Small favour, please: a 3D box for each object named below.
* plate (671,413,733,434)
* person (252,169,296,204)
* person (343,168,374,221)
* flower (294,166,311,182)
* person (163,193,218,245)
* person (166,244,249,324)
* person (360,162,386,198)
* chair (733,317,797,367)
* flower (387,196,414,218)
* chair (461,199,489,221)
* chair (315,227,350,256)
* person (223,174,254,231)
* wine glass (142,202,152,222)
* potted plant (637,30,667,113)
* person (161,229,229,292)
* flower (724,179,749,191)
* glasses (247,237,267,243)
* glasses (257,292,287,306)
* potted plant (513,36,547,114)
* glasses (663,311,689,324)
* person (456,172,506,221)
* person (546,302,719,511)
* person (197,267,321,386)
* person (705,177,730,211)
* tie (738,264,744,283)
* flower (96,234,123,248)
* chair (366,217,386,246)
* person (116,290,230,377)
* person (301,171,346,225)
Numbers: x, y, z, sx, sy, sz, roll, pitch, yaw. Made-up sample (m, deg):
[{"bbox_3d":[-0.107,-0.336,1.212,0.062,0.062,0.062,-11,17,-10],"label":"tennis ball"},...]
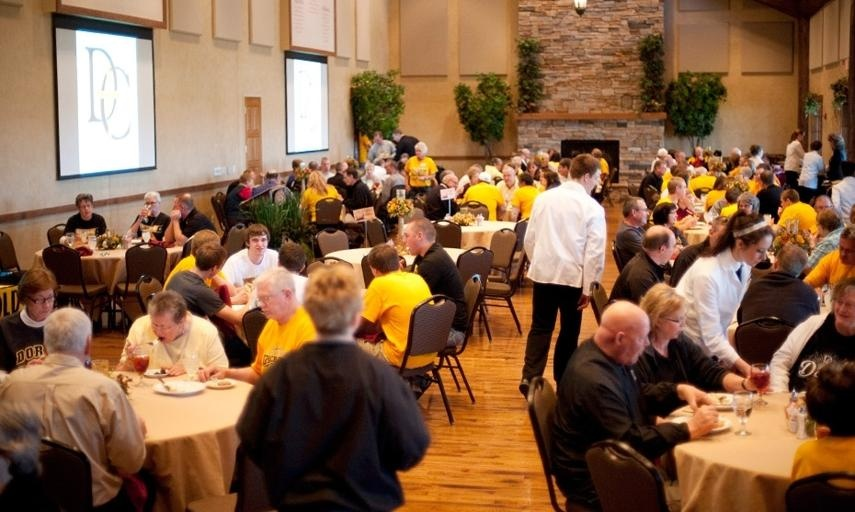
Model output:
[{"bbox_3d":[1.750,1.034,4.257,0.180,0.027,0.179,-3,2,-30],"label":"plate"},{"bbox_3d":[-2.680,-1.199,12.040,0.687,0.526,1.183,-4,9,-5],"label":"person"},{"bbox_3d":[-1.303,-1.175,12.679,0.491,0.891,0.926,-6,9,-21],"label":"person"},{"bbox_3d":[-2.537,-1.641,13.995,0.230,0.157,0.281,14,42,0],"label":"flower"},{"bbox_3d":[-3.277,-0.490,9.383,0.827,0.643,0.571,1,8,-28],"label":"person"},{"bbox_3d":[-1.910,0.270,6.053,0.389,0.737,0.444,31,27,31],"label":"person"},{"bbox_3d":[-1.135,-1.651,14.691,0.642,0.847,0.323,-1,26,2],"label":"person"},{"bbox_3d":[2.554,0.664,5.192,0.254,0.477,0.300,5,19,19],"label":"chair"},{"bbox_3d":[-0.398,-0.689,9.994,0.311,0.219,0.321,-3,-1,21],"label":"flower"},{"bbox_3d":[0.771,-0.730,10.866,0.304,0.437,0.347,5,9,14],"label":"chair"},{"bbox_3d":[-1.274,-0.169,9.124,0.339,0.574,0.375,-2,2,-35],"label":"chair"},{"bbox_3d":[-3.239,-0.965,11.864,0.523,0.933,0.815,-5,9,-16],"label":"person"},{"bbox_3d":[-3.850,-0.595,9.462,0.137,0.228,0.282,-6,9,-21],"label":"wine glass"},{"bbox_3d":[6.404,-5.198,19.672,0.665,2.209,0.433,-2,9,5],"label":"potted plant"},{"bbox_3d":[-2.333,0.066,6.848,0.551,0.910,0.584,-4,14,-42],"label":"person"},{"bbox_3d":[4.566,-1.033,10.185,0.326,0.135,0.278,4,-1,13],"label":"flower"},{"bbox_3d":[-1.675,-0.160,6.807,0.172,0.064,0.077,-7,9,-23],"label":"glasses"},{"bbox_3d":[-1.069,0.300,4.732,0.105,0.058,0.142,-2,0,29],"label":"glasses"},{"bbox_3d":[3.053,-5.322,20.303,0.785,2.222,0.313,-2,9,7],"label":"potted plant"},{"bbox_3d":[1.667,0.408,4.574,0.108,0.034,0.109,-3,5,-16],"label":"glasses"},{"bbox_3d":[0.875,-0.946,11.342,0.920,1.161,0.618,3,18,8],"label":"person"},{"bbox_3d":[1.313,0.966,4.261,0.888,1.494,0.672,-12,34,15],"label":"person"},{"bbox_3d":[-1.027,0.496,5.101,1.093,1.073,0.716,1,8,-8],"label":"person"},{"bbox_3d":[4.384,-0.911,10.366,0.255,0.292,0.803,-16,-2,7],"label":"person"},{"bbox_3d":[2.330,0.138,5.146,0.033,0.159,0.045,3,8,9],"label":"tie"},{"bbox_3d":[-4.028,-0.178,8.772,0.209,0.139,0.214,-2,3,8],"label":"flower"},{"bbox_3d":[-0.743,-0.317,9.883,0.270,0.411,0.561,-4,9,-7],"label":"chair"},{"bbox_3d":[-1.912,0.605,5.283,0.630,0.837,0.427,8,30,-1],"label":"person"},{"bbox_3d":[-1.886,-0.941,12.199,0.637,1.031,0.517,-12,24,-32],"label":"person"}]
